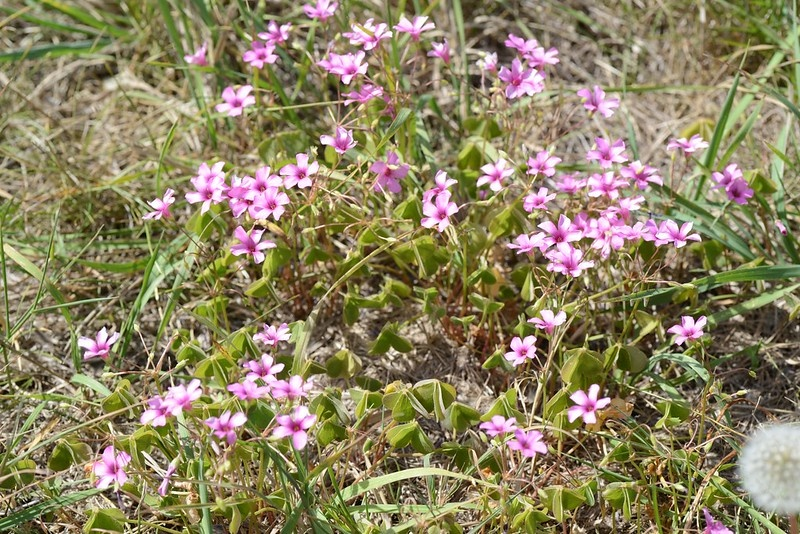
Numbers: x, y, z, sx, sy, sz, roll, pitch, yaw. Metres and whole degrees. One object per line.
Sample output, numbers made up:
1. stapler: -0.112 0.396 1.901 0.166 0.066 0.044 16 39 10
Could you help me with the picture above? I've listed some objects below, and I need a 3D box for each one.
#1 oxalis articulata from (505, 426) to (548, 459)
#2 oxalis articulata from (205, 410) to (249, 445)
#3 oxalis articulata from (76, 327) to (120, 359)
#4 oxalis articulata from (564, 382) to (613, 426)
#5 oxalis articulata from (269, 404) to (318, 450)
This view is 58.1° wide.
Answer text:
1. oxalis articulata: 0.667 0.935 3.893 0.191 0.319 0.190 3 62 1
2. oxalis articulata: -0.857 0.820 3.618 0.173 0.087 0.210 -21 44 -11
3. oxalis articulata: -1.853 0.476 4.436 0.157 0.095 0.168 -32 54 -16
4. oxalis articulata: 0.997 0.733 3.872 0.196 0.346 0.286 3 96 5
5. oxalis articulata: -0.528 0.819 3.677 0.212 0.083 0.220 25 58 30
